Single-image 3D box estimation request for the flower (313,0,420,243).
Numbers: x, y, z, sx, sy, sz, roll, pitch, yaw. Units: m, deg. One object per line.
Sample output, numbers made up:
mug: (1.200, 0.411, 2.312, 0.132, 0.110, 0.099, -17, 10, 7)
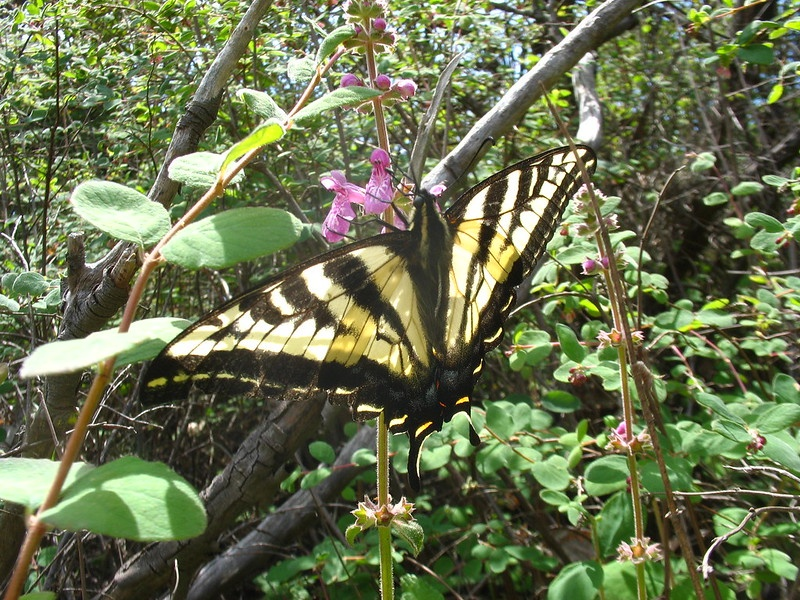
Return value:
flower: (-0.134, -0.673, 3.030, 0.365, 0.822, 0.569, 8, 2, -1)
